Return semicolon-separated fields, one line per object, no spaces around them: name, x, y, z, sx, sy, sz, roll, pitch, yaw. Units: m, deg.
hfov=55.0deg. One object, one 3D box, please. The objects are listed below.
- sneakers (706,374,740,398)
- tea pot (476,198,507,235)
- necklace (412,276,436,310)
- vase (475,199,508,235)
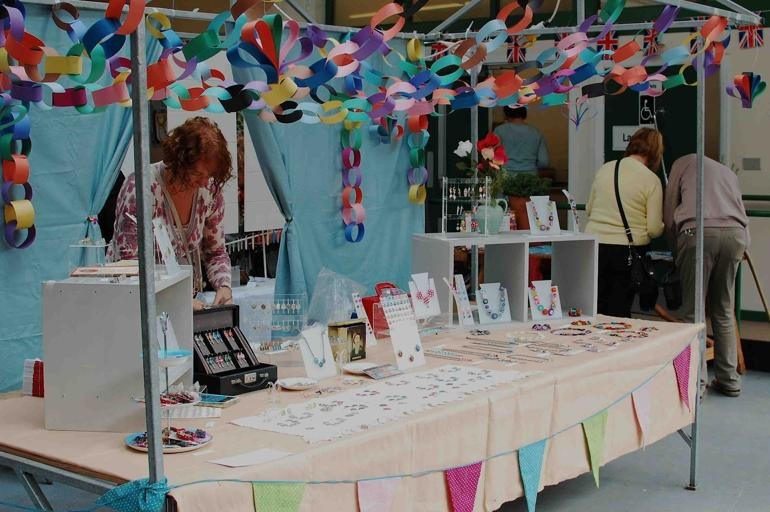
sneakers;2.578;0.997;5.658;0.083;0.105;0.228;-8;15;-29
tea pot;0.628;-0.244;4.493;0.188;0.240;0.194;0;2;0
necklace;0.212;0.207;4.105;0.019;0.174;0.124;-10;15;43
vase;0.628;-0.232;4.493;0.189;0.239;0.211;-1;0;21
